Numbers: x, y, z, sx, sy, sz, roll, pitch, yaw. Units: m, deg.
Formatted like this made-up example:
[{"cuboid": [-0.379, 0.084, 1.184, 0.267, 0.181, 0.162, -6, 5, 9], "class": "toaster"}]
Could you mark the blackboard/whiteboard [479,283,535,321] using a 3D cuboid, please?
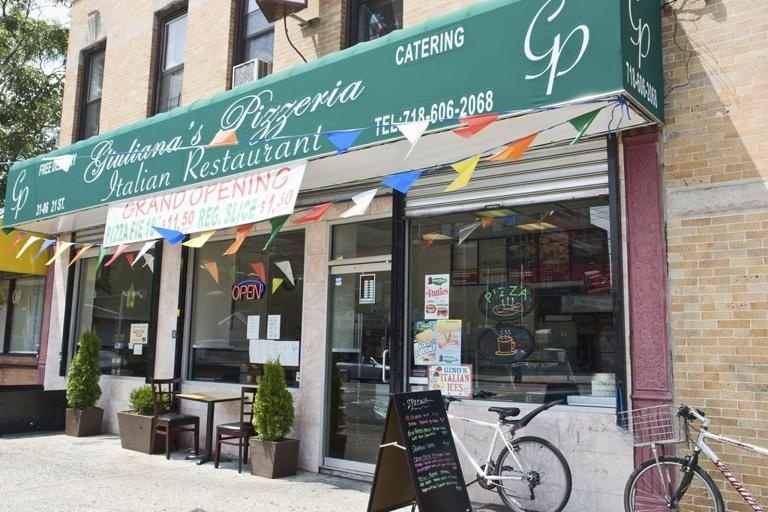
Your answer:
[{"cuboid": [1.696, 0.626, 8.969, 0.539, 0.364, 0.073, -4, -13, 37], "class": "blackboard/whiteboard"}]

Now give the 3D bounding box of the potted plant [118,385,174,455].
[{"cuboid": [-3.991, 2.790, 11.136, 0.675, 1.154, 1.001, 13, -20, -40], "class": "potted plant"}]

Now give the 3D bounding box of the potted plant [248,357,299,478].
[{"cuboid": [-1.652, 2.427, 9.827, 0.695, 1.566, 0.397, -2, 0, -12], "class": "potted plant"}]

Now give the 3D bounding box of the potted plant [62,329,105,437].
[{"cuboid": [-5.665, 2.376, 12.415, 0.626, 1.679, 0.376, -2, 0, -26], "class": "potted plant"}]
